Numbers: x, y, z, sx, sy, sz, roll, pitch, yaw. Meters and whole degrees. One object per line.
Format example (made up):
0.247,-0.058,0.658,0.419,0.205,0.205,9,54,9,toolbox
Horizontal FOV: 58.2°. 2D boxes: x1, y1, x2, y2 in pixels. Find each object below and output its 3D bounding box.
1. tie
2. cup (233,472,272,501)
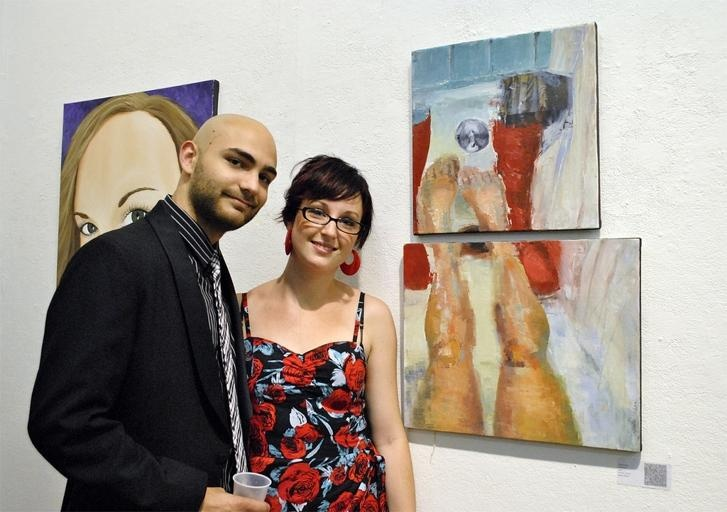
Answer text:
-0.448,0.397,2.160,0.085,0.915,0.095,-3,-17,-9,tie
-0.343,0.696,2.015,0.088,0.069,0.091,15,4,-1,cup
